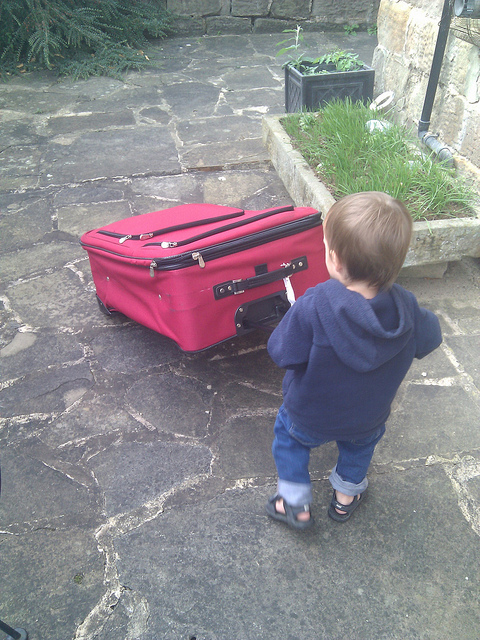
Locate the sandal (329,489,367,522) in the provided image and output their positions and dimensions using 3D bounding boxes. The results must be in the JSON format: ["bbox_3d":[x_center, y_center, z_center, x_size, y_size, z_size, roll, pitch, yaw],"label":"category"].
[{"bbox_3d":[0.325,0.580,1.680,0.059,0.042,0.111,15,44,30],"label":"sandal"}]

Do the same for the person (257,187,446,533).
[{"bbox_3d":[0.287,0.145,1.491,0.514,1.021,0.286,-11,36,-14],"label":"person"}]

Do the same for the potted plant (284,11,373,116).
[{"bbox_3d":[0.624,-1.732,3.952,0.665,0.774,0.647,12,36,31],"label":"potted plant"}]

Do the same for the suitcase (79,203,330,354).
[{"bbox_3d":[-0.189,-0.209,2.053,0.653,0.326,0.803,-25,31,-30],"label":"suitcase"}]
